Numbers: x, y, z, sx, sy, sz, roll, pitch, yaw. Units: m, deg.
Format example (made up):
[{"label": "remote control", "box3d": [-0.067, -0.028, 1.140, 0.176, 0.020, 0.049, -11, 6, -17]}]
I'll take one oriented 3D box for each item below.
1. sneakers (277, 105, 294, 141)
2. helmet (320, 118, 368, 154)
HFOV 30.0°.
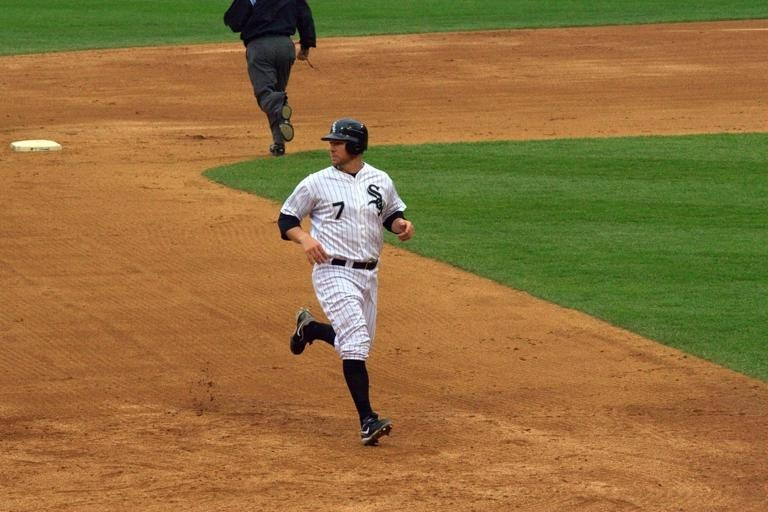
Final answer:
[{"label": "sneakers", "box3d": [-1.729, -2.288, 24.898, 0.298, 0.594, 0.295, -7, -3, -3]}, {"label": "helmet", "box3d": [-0.497, -1.450, 17.290, 0.579, 0.328, 0.441, -1, 14, -37]}]
